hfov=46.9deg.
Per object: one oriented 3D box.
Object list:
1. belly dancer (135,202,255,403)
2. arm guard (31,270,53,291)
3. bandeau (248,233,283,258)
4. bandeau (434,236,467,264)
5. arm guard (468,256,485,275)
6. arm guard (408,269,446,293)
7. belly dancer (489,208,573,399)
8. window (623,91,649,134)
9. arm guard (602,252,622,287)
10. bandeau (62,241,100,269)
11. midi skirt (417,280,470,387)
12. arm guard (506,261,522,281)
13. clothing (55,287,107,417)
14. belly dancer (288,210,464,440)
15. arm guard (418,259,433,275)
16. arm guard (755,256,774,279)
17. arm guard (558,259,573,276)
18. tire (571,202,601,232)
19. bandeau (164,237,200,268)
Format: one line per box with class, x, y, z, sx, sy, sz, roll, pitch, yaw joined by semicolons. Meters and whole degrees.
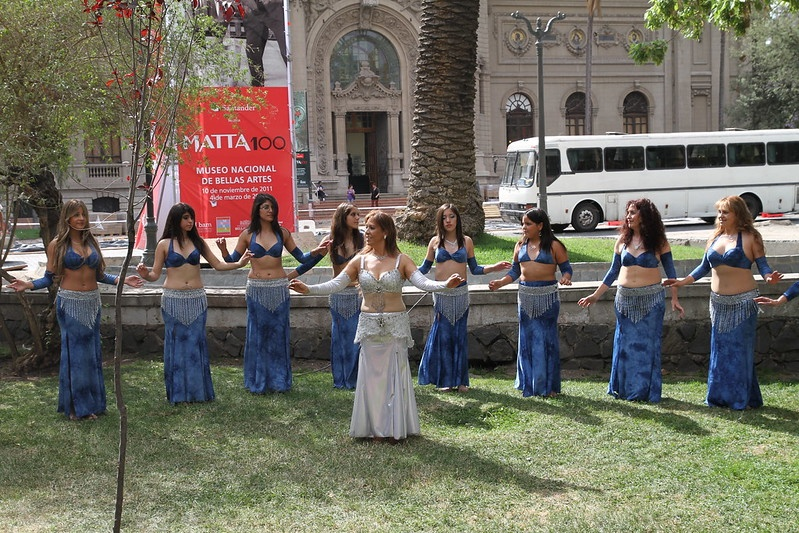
belly dancer;-3.155;0.527;13.586;1.093;2.927;0.407;-2;6;-13
arm guard;-5.063;0.233;13.107;0.297;0.129;0.235;-13;39;4
bandeau;-2.022;-0.437;13.987;0.608;0.528;0.323;-1;3;-15
bandeau;0.794;-0.309;14.085;0.459;0.382;0.253;0;-7;3
arm guard;1.171;-0.012;14.220;0.095;0.278;0.204;-21;-7;28
arm guard;0.375;0.204;12.428;0.726;0.206;0.203;18;35;35
belly dancer;2.079;0.527;13.871;0.948;2.812;0.515;0;6;11
window;11.270;-7.474;44.427;1.305;2.173;0.252;1;-12;13
arm guard;3.169;0.042;13.758;0.154;0.674;0.174;17;-1;18
bandeau;-4.557;-0.239;13.196;0.522;0.398;0.281;-2;0;-37
midi skirt;0.721;0.990;14.240;0.765;1.861;0.615;-1;23;-2
arm guard;1.734;0.068;13.980;0.191;0.266;0.095;20;-4;30
clothing;-4.576;1.228;13.233;0.645;1.829;0.353;-3;6;-21
belly dancer;-0.334;0.991;13.670;3.349;4.429;1.413;0;-1;5
arm guard;0.351;-0.007;14.193;0.093;0.232;0.229;1;-11;42
arm guard;5.221;0.006;13.225;0.238;0.353;0.103;3;28;46
arm guard;2.494;0.013;13.873;0.199;0.208;0.192;1;3;15
tire;5.746;-1.606;28.532;0.913;0.944;0.329;0;6;-13
bandeau;-3.170;-0.291;13.631;0.637;0.564;0.332;-1;3;-37
